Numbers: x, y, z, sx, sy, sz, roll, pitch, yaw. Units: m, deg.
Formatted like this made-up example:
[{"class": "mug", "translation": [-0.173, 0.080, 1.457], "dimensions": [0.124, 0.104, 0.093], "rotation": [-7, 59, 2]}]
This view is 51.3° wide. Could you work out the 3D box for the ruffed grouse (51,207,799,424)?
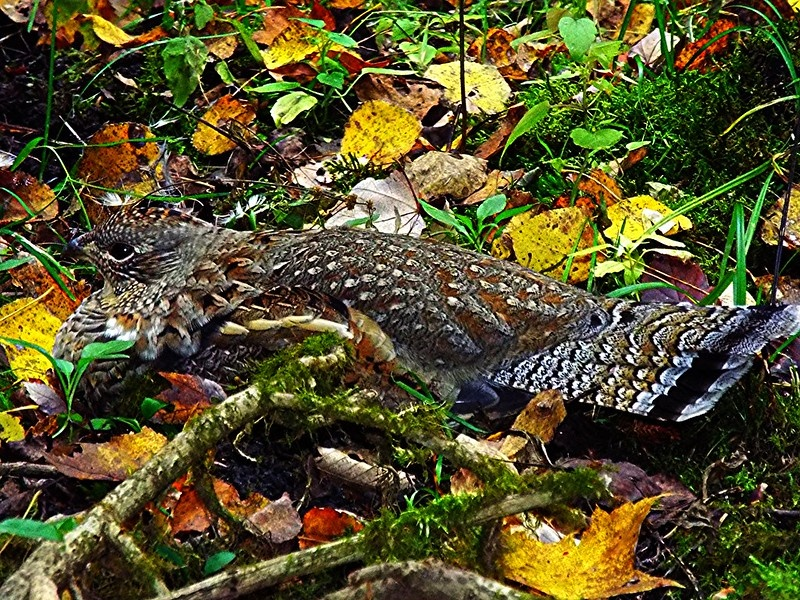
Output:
[{"class": "ruffed grouse", "translation": [0.043, 0.090, 3.785], "dimensions": [3.074, 0.719, 0.658], "rotation": [8, 28, 1]}]
